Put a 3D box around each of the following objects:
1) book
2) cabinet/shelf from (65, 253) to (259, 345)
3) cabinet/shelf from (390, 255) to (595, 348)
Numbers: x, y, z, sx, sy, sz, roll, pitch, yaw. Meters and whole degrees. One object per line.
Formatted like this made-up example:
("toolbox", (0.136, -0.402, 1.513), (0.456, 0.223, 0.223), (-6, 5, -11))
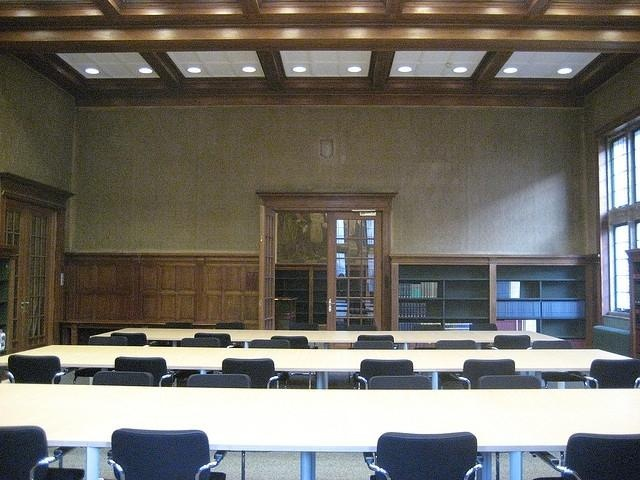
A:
("book", (2.079, 1.252, 11.017), (1.247, 0.900, 0.378), (2, -10, -8))
("cabinet/shelf", (-2.897, 1.345, 11.355), (3.810, 1.976, 0.554), (4, -4, -34))
("cabinet/shelf", (3.269, 1.241, 11.116), (3.734, 1.975, 0.502), (-1, 9, 10))
